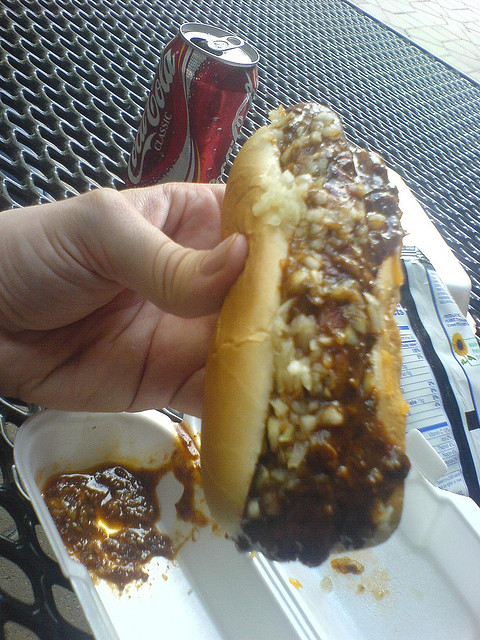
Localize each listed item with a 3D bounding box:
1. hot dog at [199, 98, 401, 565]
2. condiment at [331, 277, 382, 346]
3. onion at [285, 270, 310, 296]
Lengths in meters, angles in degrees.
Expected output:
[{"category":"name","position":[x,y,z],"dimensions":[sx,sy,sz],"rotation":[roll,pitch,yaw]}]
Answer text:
[{"category":"hot dog","position":[0.066,0.002,0.593],"dimensions":[0.194,0.136,0.388],"rotation":[10,80,-35]},{"category":"condiment","position":[0.093,-0.008,0.513],"dimensions":[0.036,0.049,0.024],"rotation":[-8,25,-27]},{"category":"onion","position":[0.047,-0.032,0.519],"dimensions":[0.015,0.018,0.018],"rotation":[30,50,15]}]
